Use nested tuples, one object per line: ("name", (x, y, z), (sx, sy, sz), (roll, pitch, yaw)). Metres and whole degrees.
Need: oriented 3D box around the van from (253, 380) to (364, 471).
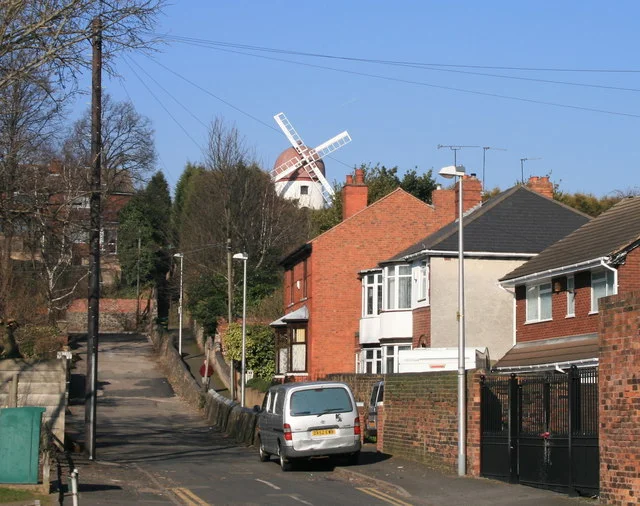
("van", (-0.511, 5.442, 37.128), (2.082, 2.782, 3.465), (9, -12, -39))
